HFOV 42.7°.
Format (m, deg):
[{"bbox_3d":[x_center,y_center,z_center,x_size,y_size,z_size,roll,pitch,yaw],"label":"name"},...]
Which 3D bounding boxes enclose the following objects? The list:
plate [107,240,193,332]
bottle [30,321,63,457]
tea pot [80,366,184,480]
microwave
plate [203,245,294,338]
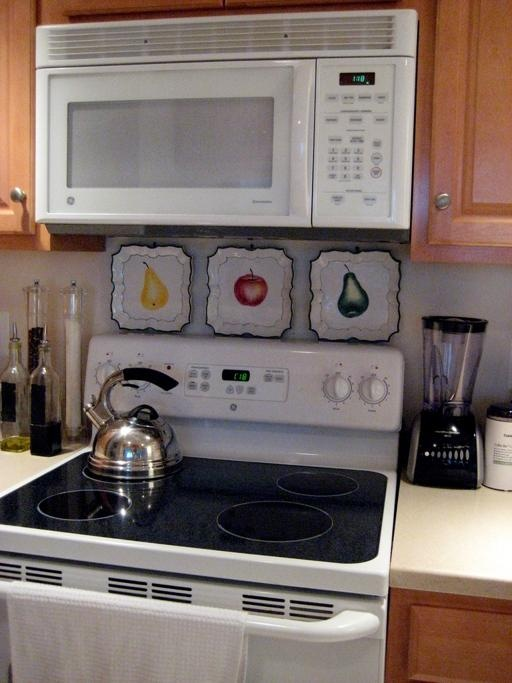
[{"bbox_3d":[-0.281,-0.134,1.536,0.217,0.210,0.031,5,9,16],"label":"plate"},{"bbox_3d":[-0.485,0.130,1.490,0.064,0.251,0.116,-2,9,-9],"label":"bottle"},{"bbox_3d":[-0.238,0.162,1.377,0.229,0.212,0.210,2,1,0],"label":"tea pot"},{"bbox_3d":[-0.034,-0.414,1.194,0.470,0.246,0.216,2,8,14],"label":"microwave"},{"bbox_3d":[-0.008,-0.122,1.561,0.238,0.220,0.011,2,4,6],"label":"plate"}]
